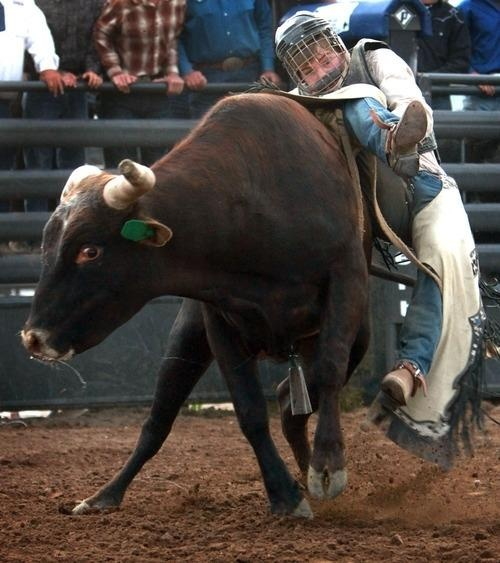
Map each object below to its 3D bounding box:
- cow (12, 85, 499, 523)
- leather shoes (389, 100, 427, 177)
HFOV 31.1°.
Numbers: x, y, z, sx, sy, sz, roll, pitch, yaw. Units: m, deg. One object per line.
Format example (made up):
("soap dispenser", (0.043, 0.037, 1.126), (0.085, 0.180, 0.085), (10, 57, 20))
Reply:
("cow", (-0.047, 0.097, 4.230), (1.931, 2.032, 1.121), (-1, 1, -44))
("leather shoes", (0.627, -0.609, 3.922), (0.152, 0.307, 0.160), (6, 15, -4))
